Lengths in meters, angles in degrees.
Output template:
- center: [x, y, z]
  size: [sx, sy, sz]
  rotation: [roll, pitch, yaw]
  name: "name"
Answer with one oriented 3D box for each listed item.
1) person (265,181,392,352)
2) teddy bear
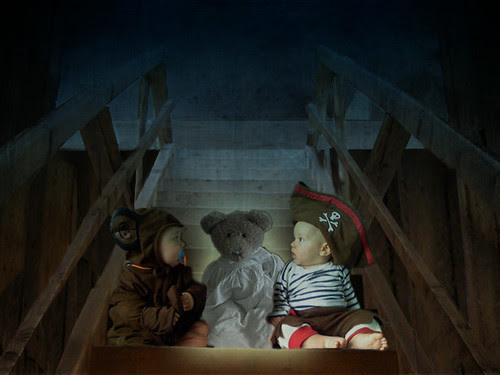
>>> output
- center: [0.359, 0.385, 2.111]
  size: [0.556, 0.776, 0.699]
  rotation: [3, -8, -5]
  name: "person"
- center: [-0.060, 0.484, 2.298]
  size: [0.441, 0.474, 0.706]
  rotation: [-3, -81, 0]
  name: "teddy bear"
